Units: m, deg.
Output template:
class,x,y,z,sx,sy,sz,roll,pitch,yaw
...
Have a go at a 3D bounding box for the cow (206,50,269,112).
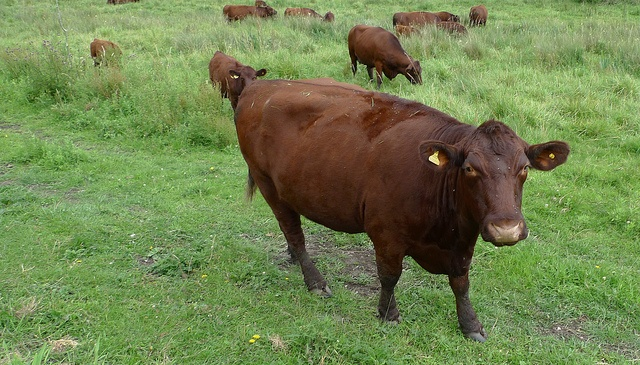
class,x,y,z,sx,sy,sz,roll,pitch,yaw
cow,-2.647,-3.126,15.453,1.051,1.524,2.977,-24,41,-17
